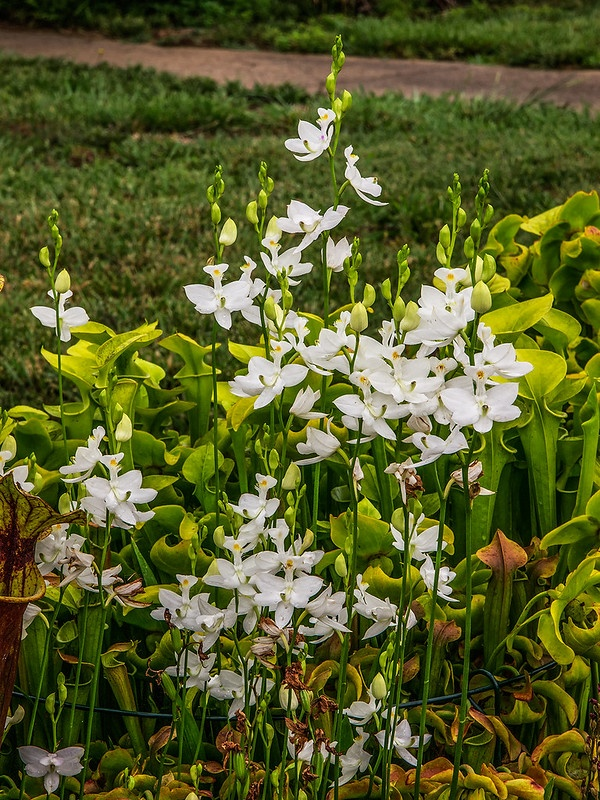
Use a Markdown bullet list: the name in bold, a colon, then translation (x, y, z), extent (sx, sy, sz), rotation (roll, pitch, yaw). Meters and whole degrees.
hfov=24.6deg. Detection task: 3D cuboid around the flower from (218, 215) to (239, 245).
- **flower**: translation (-0.098, -0.237, 1.903), extent (0.023, 0.043, 0.010), rotation (27, -1, -5)
